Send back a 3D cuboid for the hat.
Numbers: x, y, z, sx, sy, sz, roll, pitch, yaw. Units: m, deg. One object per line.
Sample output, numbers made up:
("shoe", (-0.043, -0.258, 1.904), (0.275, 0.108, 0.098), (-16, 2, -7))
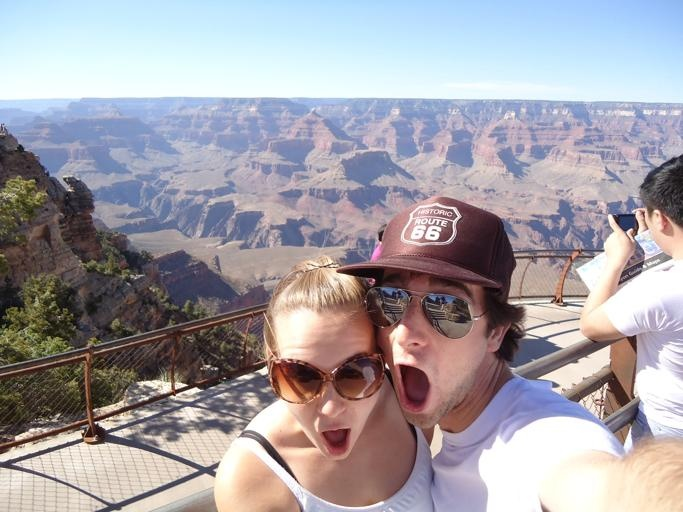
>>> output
("hat", (0.413, -0.002, 2.141), (0.611, 0.300, 0.472), (19, -7, -35))
